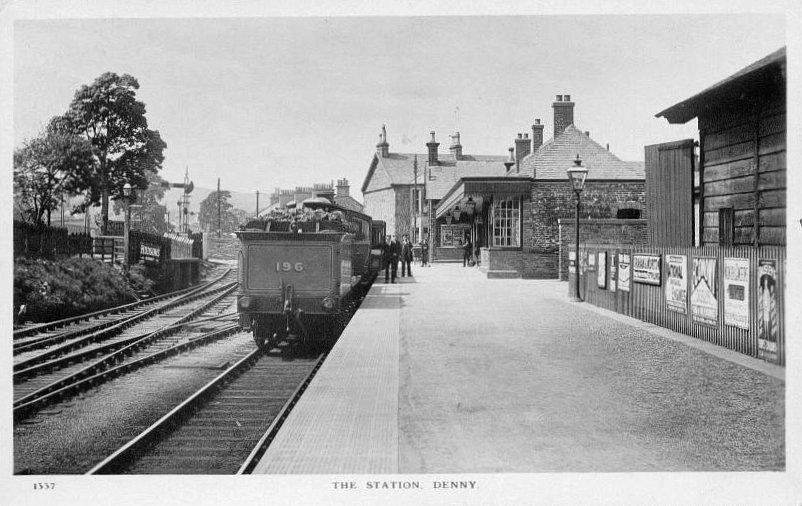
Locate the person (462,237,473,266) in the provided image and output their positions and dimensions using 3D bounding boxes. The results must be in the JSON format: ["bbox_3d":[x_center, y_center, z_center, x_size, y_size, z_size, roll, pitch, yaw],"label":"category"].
[{"bbox_3d":[3.672,-0.030,38.278,0.452,1.375,1.694,1,2,4],"label":"person"}]

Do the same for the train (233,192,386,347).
[{"bbox_3d":[-2.475,0.572,16.338,2.683,3.326,1.562,1,2,-16],"label":"train"}]
